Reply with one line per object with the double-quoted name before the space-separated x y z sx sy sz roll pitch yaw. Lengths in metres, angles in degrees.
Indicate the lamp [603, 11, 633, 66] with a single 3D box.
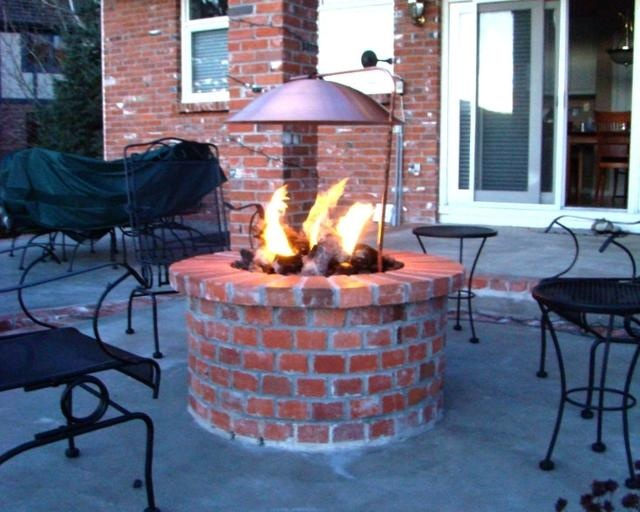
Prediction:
"lamp" 5.855 -4.179 11.901 0.444 0.908 0.959 6 16 23
